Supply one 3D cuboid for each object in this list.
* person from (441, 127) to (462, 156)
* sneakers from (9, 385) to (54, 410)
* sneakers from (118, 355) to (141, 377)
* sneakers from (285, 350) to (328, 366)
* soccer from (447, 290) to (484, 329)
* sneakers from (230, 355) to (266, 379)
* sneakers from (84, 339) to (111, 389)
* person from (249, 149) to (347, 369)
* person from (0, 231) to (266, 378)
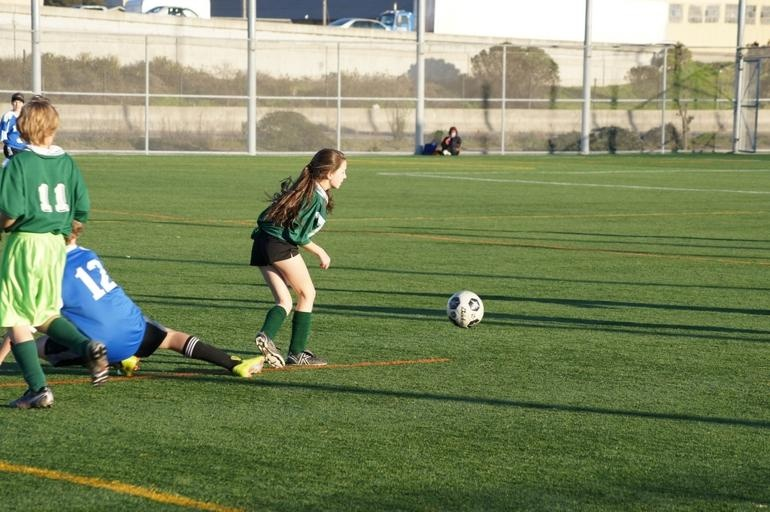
[{"bbox_3d":[2.393,-4.115,34.030,0.660,1.032,0.765,0,13,-3],"label":"person"},{"bbox_3d":[-2.254,0.905,5.980,0.302,0.140,0.113,-1,1,5],"label":"sneakers"},{"bbox_3d":[-1.723,0.728,6.392,0.167,0.122,0.164,-1,-30,-33],"label":"sneakers"},{"bbox_3d":[-0.571,0.734,6.791,0.309,0.127,0.109,1,-2,-7],"label":"sneakers"},{"bbox_3d":[0.657,0.434,7.735,0.306,0.301,0.284,9,29,13],"label":"soccer"},{"bbox_3d":[-0.928,0.755,6.467,0.124,0.100,0.278,5,3,10],"label":"sneakers"},{"bbox_3d":[-1.776,0.667,5.849,0.110,0.271,0.122,-20,18,-37],"label":"sneakers"},{"bbox_3d":[-0.632,-0.007,6.836,0.687,1.527,0.864,0,13,-4],"label":"person"},{"bbox_3d":[-1.707,0.288,6.409,1.875,0.908,0.673,12,31,10],"label":"person"}]
